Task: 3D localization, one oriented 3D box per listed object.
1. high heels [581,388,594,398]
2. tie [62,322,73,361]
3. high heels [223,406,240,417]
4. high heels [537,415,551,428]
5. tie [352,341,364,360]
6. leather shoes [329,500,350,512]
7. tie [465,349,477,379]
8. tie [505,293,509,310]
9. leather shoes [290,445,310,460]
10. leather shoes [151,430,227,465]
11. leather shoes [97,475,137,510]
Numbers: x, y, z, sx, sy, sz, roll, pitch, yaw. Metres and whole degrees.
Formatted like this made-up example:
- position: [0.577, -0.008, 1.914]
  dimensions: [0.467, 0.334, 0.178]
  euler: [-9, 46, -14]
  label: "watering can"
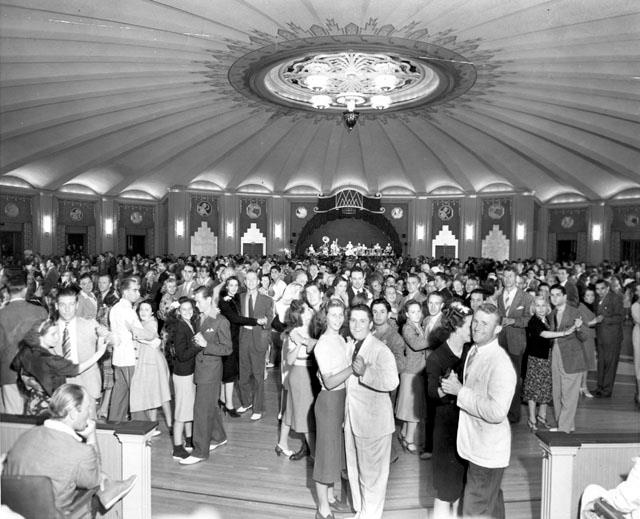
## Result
- position: [3.987, 2.004, 7.353]
  dimensions: [0.091, 0.062, 0.175]
  euler: [-11, 25, -17]
  label: "high heels"
- position: [-2.467, 0.780, 4.797]
  dimensions: [0.080, 0.337, 0.081]
  euler: [0, 1, 45]
  label: "tie"
- position: [-1.185, 1.972, 6.457]
  dimensions: [0.250, 0.087, 0.104]
  euler: [7, -13, 41]
  label: "high heels"
- position: [2.784, 2.049, 6.141]
  dimensions: [0.065, 0.201, 0.100]
  euler: [-19, -39, 26]
  label: "high heels"
- position: [0.311, 0.752, 4.043]
  dimensions: [0.048, 0.150, 0.096]
  euler: [12, -1, -34]
  label: "tie"
- position: [0.181, 2.188, 4.396]
  dimensions: [0.172, 0.061, 0.141]
  euler: [-1, 1, 1]
  label: "leather shoes"
- position: [1.175, 0.799, 3.833]
  dimensions: [0.041, 0.193, 0.186]
  euler: [15, 21, 23]
  label: "tie"
- position: [2.444, 0.538, 6.412]
  dimensions: [0.029, 0.132, 0.086]
  euler: [10, -4, 2]
  label: "tie"
- position: [-0.201, 2.075, 5.330]
  dimensions: [0.112, 0.165, 0.343]
  euler: [-10, -15, 36]
  label: "leather shoes"
- position: [-1.319, 2.039, 5.222]
  dimensions: [0.557, 0.263, 0.208]
  euler: [-8, 9, -12]
  label: "leather shoes"
- position: [-1.561, 1.753, 3.807]
  dimensions: [0.107, 0.188, 0.363]
  euler: [0, 1, 25]
  label: "leather shoes"
